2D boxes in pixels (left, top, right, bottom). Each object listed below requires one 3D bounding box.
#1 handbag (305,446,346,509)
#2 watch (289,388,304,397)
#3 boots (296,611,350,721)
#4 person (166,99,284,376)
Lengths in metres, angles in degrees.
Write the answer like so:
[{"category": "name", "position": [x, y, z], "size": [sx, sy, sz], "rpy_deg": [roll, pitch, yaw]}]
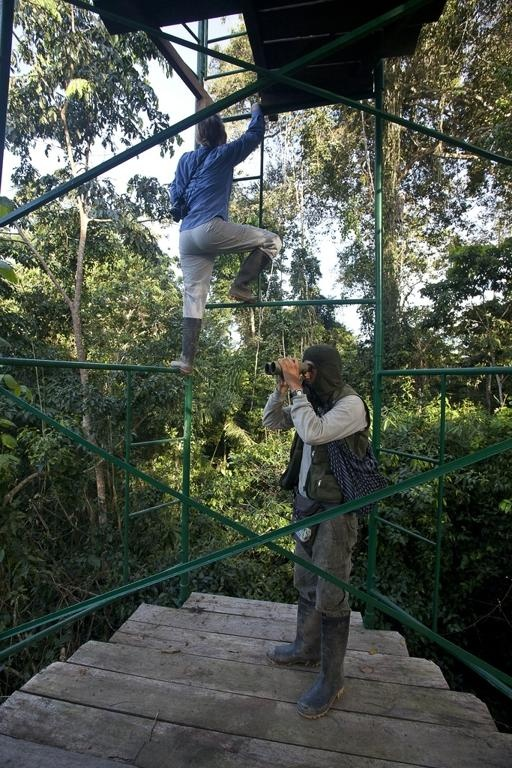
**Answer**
[{"category": "handbag", "position": [0.259, 0.347, 2.238], "size": [0.170, 0.337, 0.234], "rpy_deg": [1, -9, 7]}, {"category": "watch", "position": [0.154, 0.033, 2.217], "size": [0.039, 0.028, 0.043], "rpy_deg": [-7, 7, 29]}, {"category": "boots", "position": [0.244, 0.976, 2.065], "size": [0.107, 0.265, 0.260], "rpy_deg": [2, -1, 29]}, {"category": "person", "position": [-0.209, -0.815, 3.277], "size": [0.671, 1.325, 0.495], "rpy_deg": [3, -1, 3]}]
